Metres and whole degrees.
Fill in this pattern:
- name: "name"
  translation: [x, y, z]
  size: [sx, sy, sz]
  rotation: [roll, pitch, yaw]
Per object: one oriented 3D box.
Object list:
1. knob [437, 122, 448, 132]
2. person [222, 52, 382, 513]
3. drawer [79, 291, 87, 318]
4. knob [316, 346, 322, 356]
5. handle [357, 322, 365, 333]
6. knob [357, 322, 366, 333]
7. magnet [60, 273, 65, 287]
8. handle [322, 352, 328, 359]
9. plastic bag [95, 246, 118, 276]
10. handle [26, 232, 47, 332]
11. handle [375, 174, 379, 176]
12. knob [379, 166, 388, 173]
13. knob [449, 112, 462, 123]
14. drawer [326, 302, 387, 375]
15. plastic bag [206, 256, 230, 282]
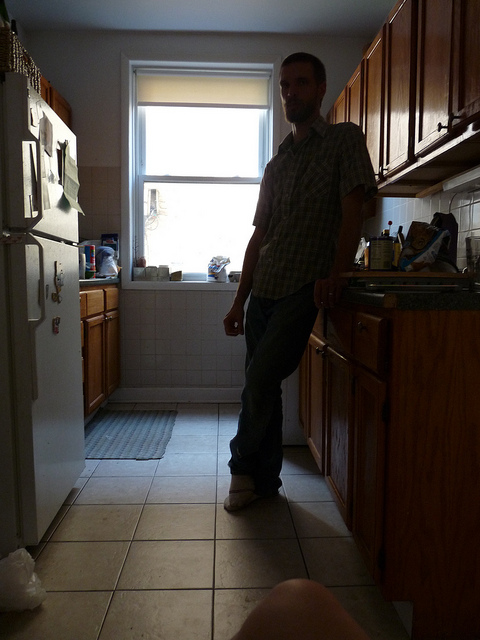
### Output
- name: "knob"
  translation: [0.605, -0.583, 1.521]
  size: [0.024, 0.026, 0.011]
  rotation: [-5, 6, -28]
- name: "person"
  translation: [0.174, -0.075, 1.759]
  size: [0.591, 1.583, 0.440]
  rotation: [4, 9, 31]
- name: "drawer"
  translation: [-0.763, -0.074, 2.459]
  size: [0.043, 0.123, 0.105]
  rotation: [0, 3, -4]
- name: "knob"
  translation: [0.290, 0.115, 1.876]
  size: [0.017, 0.024, 0.015]
  rotation: [0, -7, 0]
- name: "handle"
  translation: [0.300, 0.018, 1.261]
  size: [0.007, 0.020, 0.017]
  rotation: [5, -27, 0]
- name: "knob"
  translation: [0.302, 0.020, 1.260]
  size: [0.011, 0.031, 0.027]
  rotation: [6, -25, -1]
- name: "magnet"
  translation: [-0.618, -0.141, 1.767]
  size: [0.006, 0.036, 0.028]
  rotation: [4, 2, 0]
- name: "handle"
  translation: [0.290, 0.119, 1.741]
  size: [0.009, 0.025, 0.021]
  rotation: [0, 3, -6]
- name: "plastic bag"
  translation: [-0.865, -0.388, 3.256]
  size: [0.073, 0.127, 0.258]
  rotation: [-5, 29, -20]
- name: "handle"
  translation: [-0.598, -0.110, 1.482]
  size: [0.048, 0.281, 0.018]
  rotation: [-3, 7, -33]
- name: "handle"
  translation: [0.610, -0.651, 2.272]
  size: [0.012, 0.008, 0.055]
  rotation: [1, 12, 11]
- name: "knob"
  translation: [0.621, -0.654, 2.199]
  size: [0.050, 0.018, 0.042]
  rotation: [1, 3, -16]
- name: "knob"
  translation: [0.624, -0.585, 1.468]
  size: [0.020, 0.021, 0.019]
  rotation: [-5, 45, 7]
- name: "drawer"
  translation: [0.301, 0.044, 1.313]
  size: [0.036, 0.134, 0.180]
  rotation: [-1, 10, -13]
- name: "plastic bag"
  translation: [-0.157, -0.317, 3.561]
  size: [0.166, 0.268, 0.125]
  rotation: [0, -3, 34]
